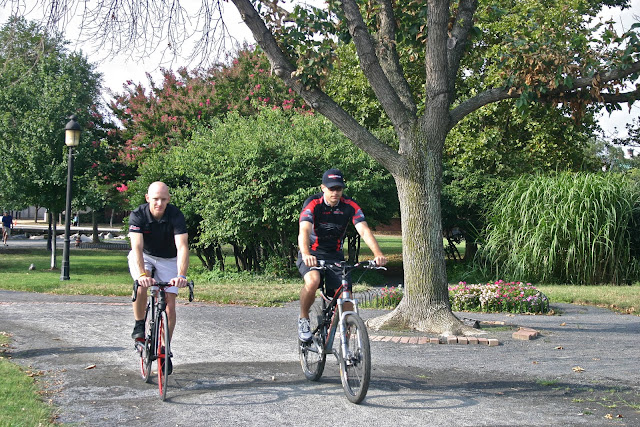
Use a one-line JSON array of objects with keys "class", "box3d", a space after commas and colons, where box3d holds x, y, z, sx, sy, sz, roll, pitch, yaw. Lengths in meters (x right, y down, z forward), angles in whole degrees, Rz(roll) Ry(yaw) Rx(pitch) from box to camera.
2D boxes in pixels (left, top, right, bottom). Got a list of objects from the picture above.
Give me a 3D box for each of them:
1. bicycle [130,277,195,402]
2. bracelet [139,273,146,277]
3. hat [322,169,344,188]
[{"class": "bicycle", "box3d": [-2.982, 2.274, 15.342, 0.519, 2.092, 1.173, 3, -7, -18]}, {"class": "bracelet", "box3d": [-3.136, 1.090, 15.053, 0.129, 0.086, 0.228, 2, -8, -12]}, {"class": "hat", "box3d": [0.228, -0.663, 15.744, 0.383, 0.395, 0.253, 1, -7, 0]}]
